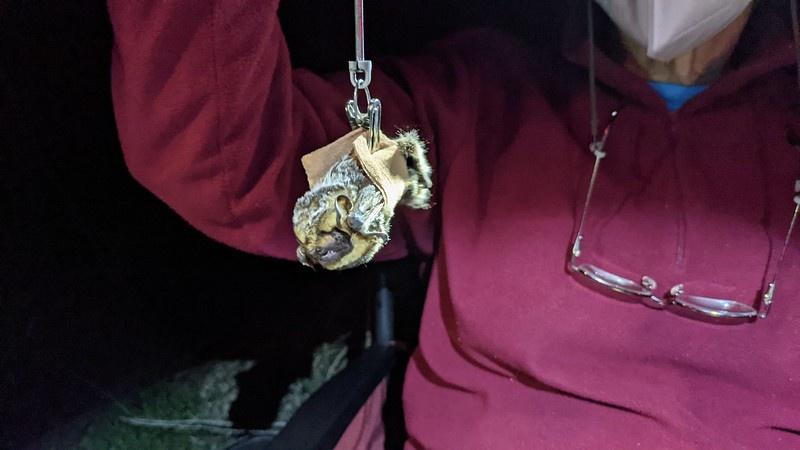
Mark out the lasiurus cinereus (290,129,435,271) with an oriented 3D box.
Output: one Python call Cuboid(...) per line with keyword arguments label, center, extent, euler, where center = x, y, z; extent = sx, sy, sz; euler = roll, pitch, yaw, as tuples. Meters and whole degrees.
Cuboid(label="lasiurus cinereus", center=(-0.080, -0.096, 1.676), extent=(0.222, 0.338, 0.452), euler=(11, 38, 26))
